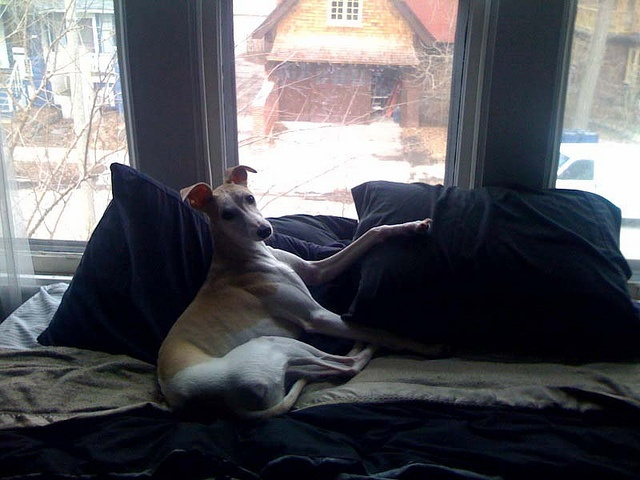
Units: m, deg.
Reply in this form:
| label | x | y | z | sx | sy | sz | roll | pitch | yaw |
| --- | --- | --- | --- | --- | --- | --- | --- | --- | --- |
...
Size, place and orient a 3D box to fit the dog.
| label | x | y | z | sx | sy | sz | roll | pitch | yaw |
| --- | --- | --- | --- | --- | --- | --- | --- | --- | --- |
| dog | -0.108 | 0.152 | 2.297 | 1.224 | 0.864 | 0.644 | -21 | 19 | -21 |
